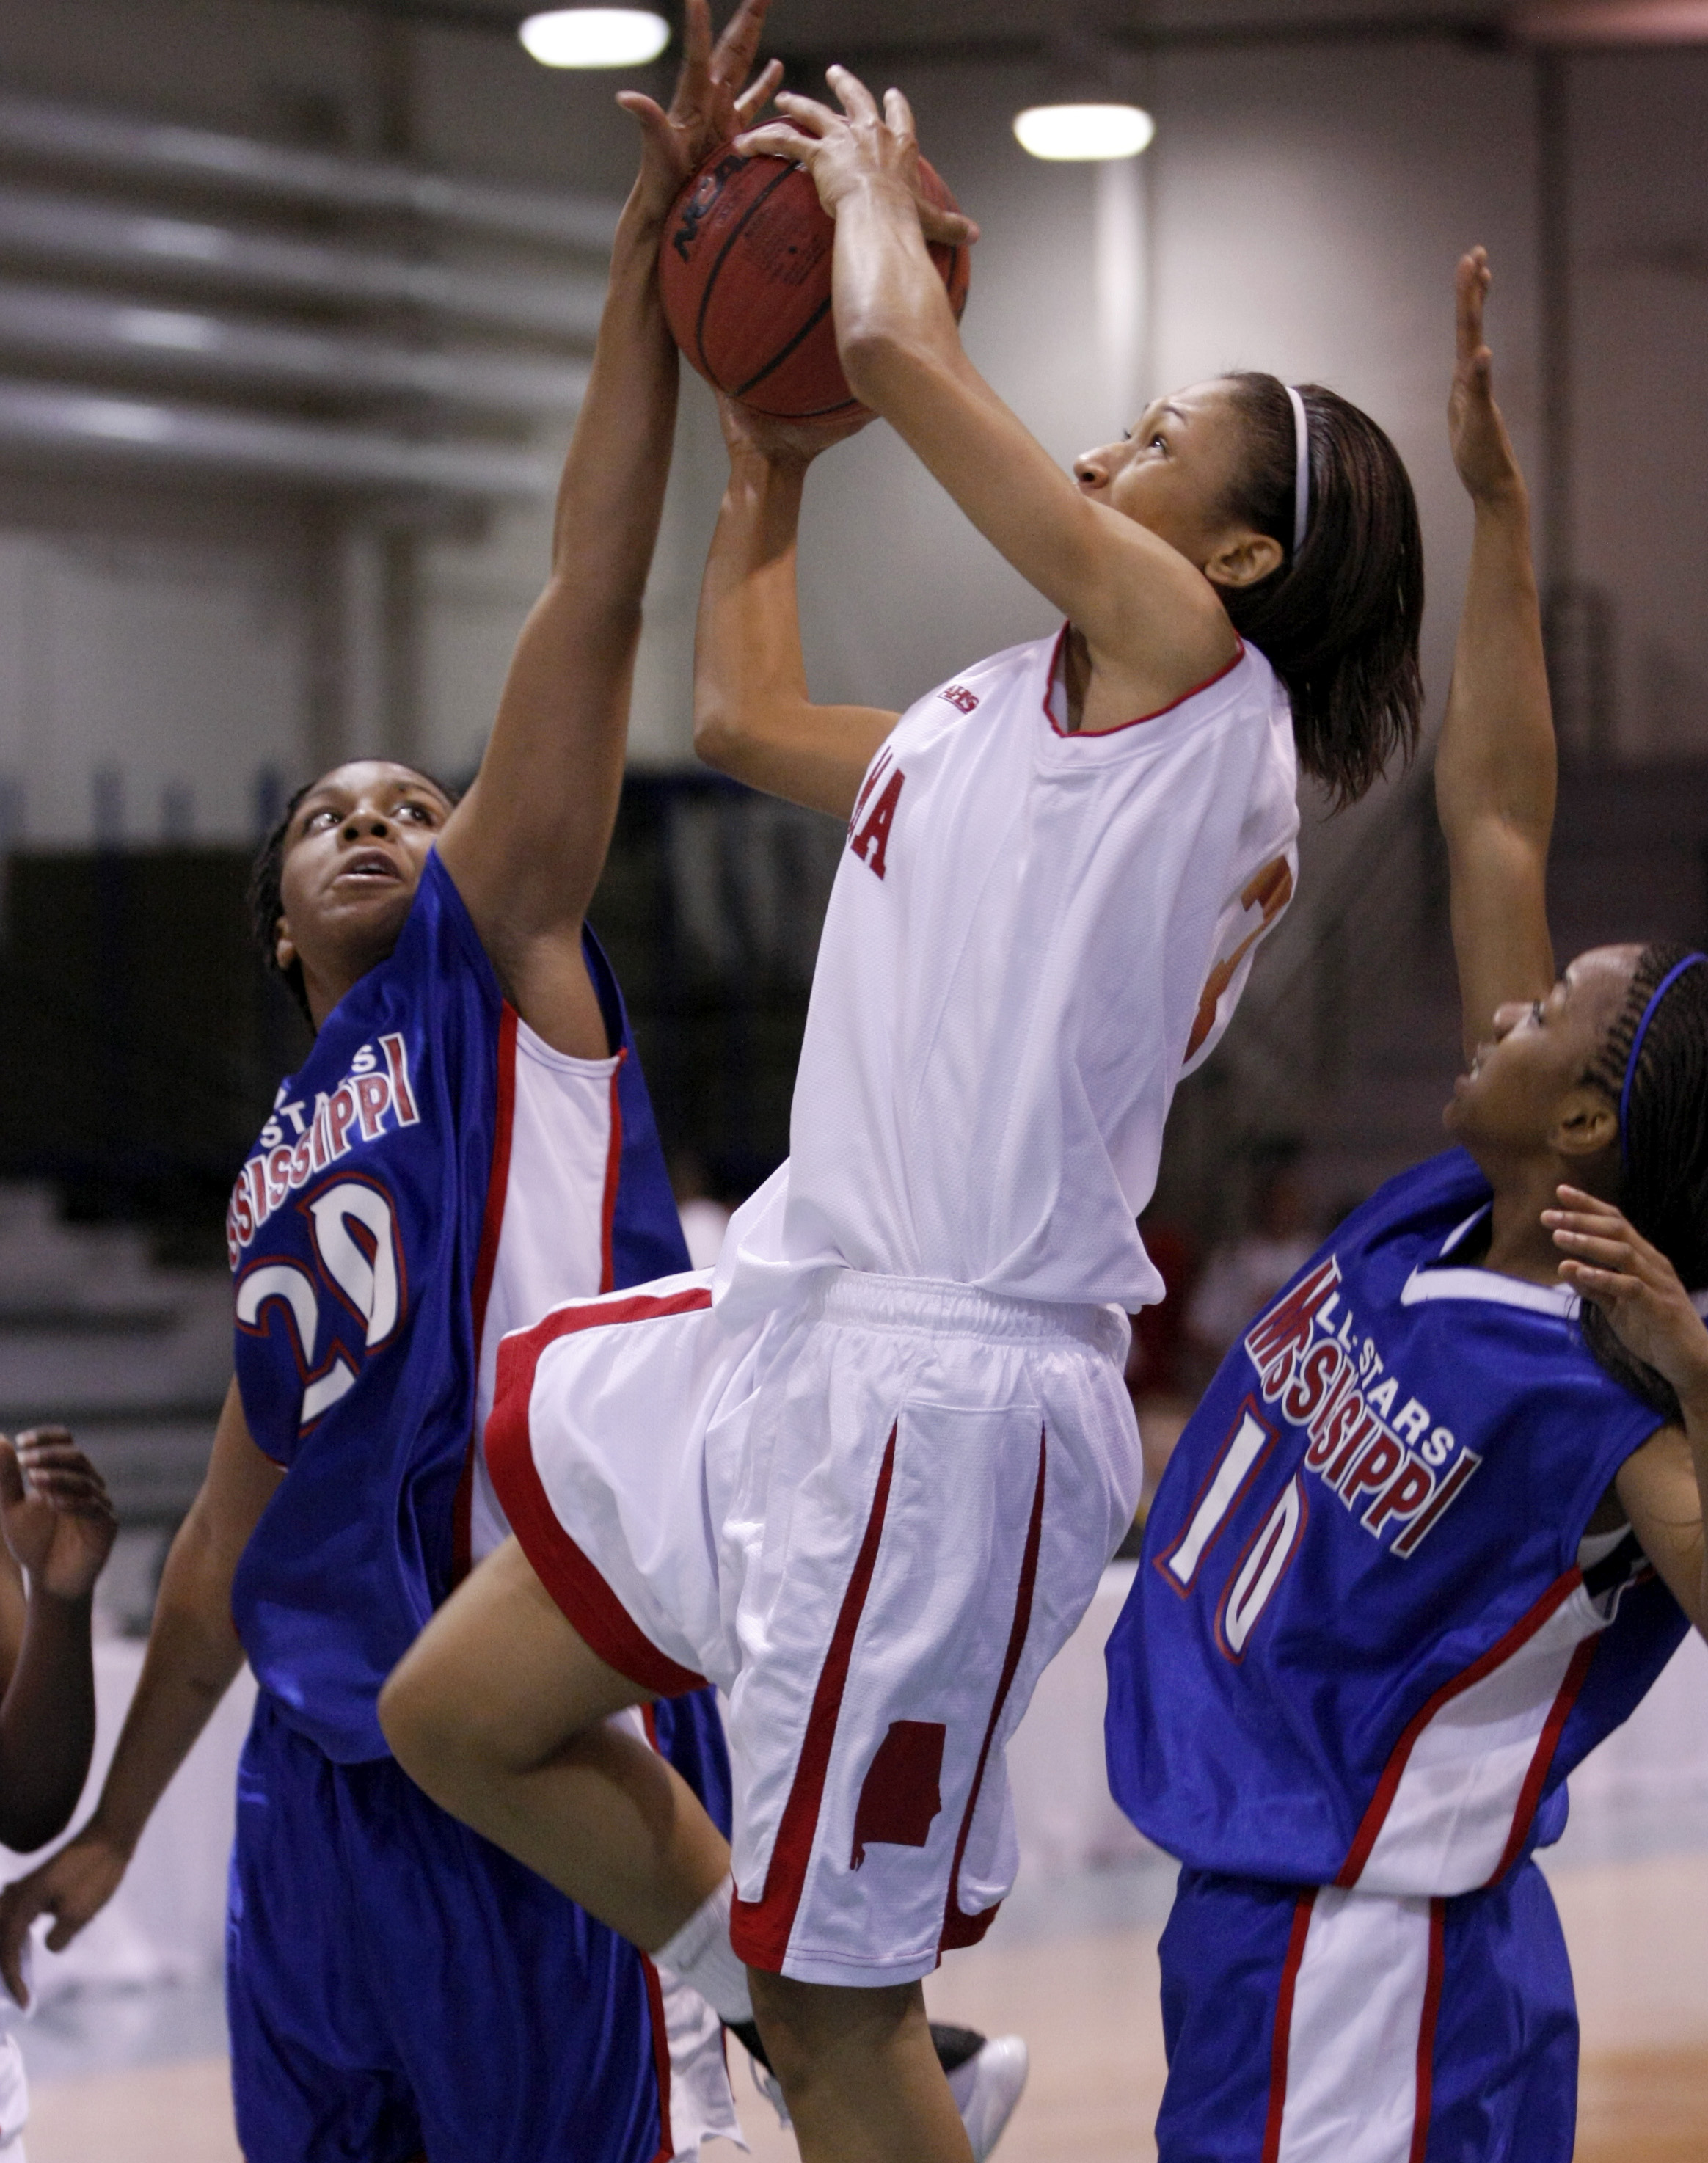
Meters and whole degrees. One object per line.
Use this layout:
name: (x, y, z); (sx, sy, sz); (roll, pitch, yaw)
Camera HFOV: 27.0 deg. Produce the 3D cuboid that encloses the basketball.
basketball: (-0.086, -0.605, 2.781); (0.228, 0.217, 0.249); (17, -9, 18)
